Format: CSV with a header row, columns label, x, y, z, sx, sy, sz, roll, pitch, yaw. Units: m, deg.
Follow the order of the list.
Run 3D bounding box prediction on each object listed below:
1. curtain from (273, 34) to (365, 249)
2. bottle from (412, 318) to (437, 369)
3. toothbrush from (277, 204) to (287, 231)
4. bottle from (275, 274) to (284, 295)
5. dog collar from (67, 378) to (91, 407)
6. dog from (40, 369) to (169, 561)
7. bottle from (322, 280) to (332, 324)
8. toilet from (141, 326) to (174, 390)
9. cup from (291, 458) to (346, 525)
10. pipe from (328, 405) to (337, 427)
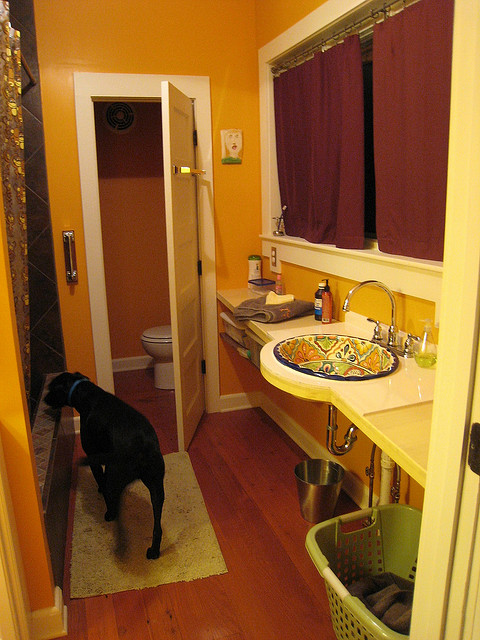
label,x,y,z,sx,sy,sz,roll,pitch,yaw
curtain,0.329,-0.822,2.390,0.076,0.862,0.689,-14,16,-31
bottle,0.599,0.074,1.579,0.064,0.158,0.060,-1,9,0
toothbrush,0.252,-0.626,2.896,0.020,0.210,0.025,8,10,1
bottle,0.224,-0.202,2.765,0.048,0.106,0.151,0,11,7
dog collar,-0.731,0.333,2.206,0.080,0.128,0.023,-17,-16,28
dog,-0.549,0.545,1.983,0.601,0.555,0.188,20,21,31
bottle,0.391,-0.076,2.188,0.038,0.179,0.077,2,9,19
toilet,-0.572,0.305,3.628,0.259,0.475,0.328,-3,11,-14
cup,0.345,0.728,2.140,0.185,0.258,0.208,-2,3,-37
pipe,0.342,0.350,1.799,0.021,0.099,0.065,0,9,2
